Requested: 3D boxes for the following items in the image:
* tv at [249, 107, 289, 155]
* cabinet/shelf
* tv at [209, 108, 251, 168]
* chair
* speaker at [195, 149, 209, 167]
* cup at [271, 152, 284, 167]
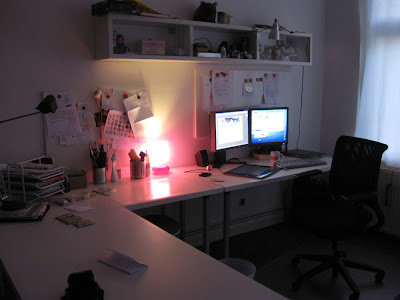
[{"bbox_3d":[0.731,-0.225,3.401,0.483,0.509,0.191,-4,6,-27],"label":"tv"},{"bbox_3d":[0.117,-0.992,2.938,2.091,0.350,0.377,-6,16,-25],"label":"cabinet/shelf"},{"bbox_3d":[0.284,-0.138,3.159,0.515,0.563,0.204,-11,13,-38],"label":"tv"},{"bbox_3d":[1.212,0.545,2.693,0.695,1.224,0.821,13,18,41],"label":"chair"},{"bbox_3d":[0.016,0.081,3.120,0.095,0.178,0.122,-13,-1,-42],"label":"speaker"},{"bbox_3d":[0.752,0.087,3.229,0.169,0.163,0.111,5,5,24],"label":"cup"}]
